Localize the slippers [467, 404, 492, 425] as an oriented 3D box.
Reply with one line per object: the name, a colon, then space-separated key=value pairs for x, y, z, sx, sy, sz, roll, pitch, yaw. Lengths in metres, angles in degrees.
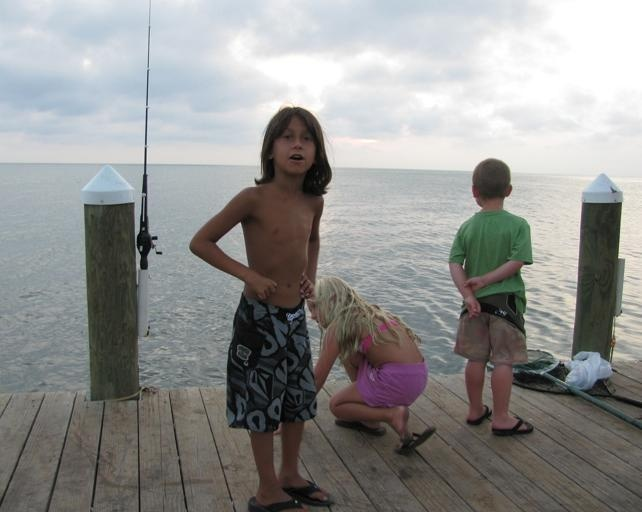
slippers: x=1.025 y=1.022 z=3.621 sx=0.071 sy=0.056 sz=0.192 roll=10 pitch=17 yaw=39

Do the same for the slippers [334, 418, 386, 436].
slippers: x=0.247 y=1.019 z=3.467 sx=0.279 sy=0.071 sz=0.103 roll=5 pitch=5 yaw=26

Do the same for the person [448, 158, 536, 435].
person: x=1.111 y=0.224 z=3.558 sx=0.652 sy=1.671 sz=0.453 roll=10 pitch=14 yaw=38

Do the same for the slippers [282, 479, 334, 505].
slippers: x=-0.061 y=1.185 z=2.814 sx=0.242 sy=0.064 sz=0.105 roll=7 pitch=5 yaw=19

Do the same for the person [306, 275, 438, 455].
person: x=0.260 y=0.649 z=3.597 sx=1.146 sy=0.959 sz=0.563 roll=7 pitch=-2 yaw=36

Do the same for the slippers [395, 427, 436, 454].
slippers: x=0.550 y=1.075 z=3.251 sx=0.067 sy=0.204 sz=0.056 roll=50 pitch=5 yaw=-50

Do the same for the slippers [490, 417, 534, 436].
slippers: x=1.196 y=1.039 z=3.459 sx=0.199 sy=0.070 sz=0.110 roll=-2 pitch=4 yaw=-8
